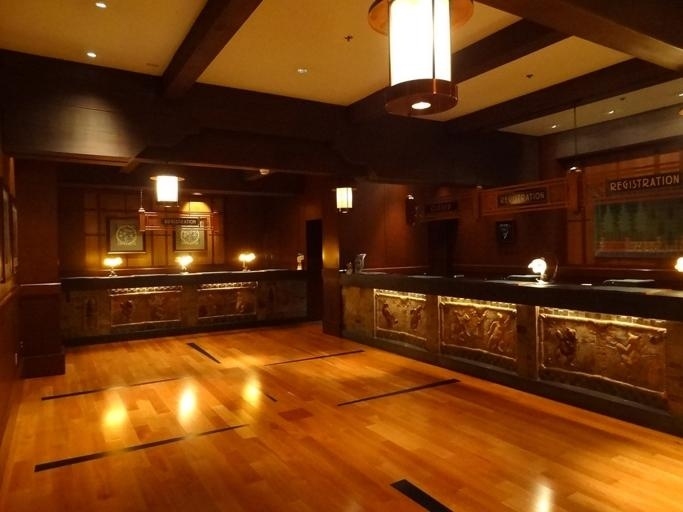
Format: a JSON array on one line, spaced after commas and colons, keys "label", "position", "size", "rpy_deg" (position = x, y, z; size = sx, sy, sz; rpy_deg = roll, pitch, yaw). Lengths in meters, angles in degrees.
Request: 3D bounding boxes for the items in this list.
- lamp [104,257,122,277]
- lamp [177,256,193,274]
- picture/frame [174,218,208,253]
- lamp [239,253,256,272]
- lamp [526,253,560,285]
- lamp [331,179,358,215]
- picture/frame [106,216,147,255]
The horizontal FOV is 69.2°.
[{"label": "lamp", "position": [-4.845, 0.202, 10.415], "size": [0.341, 0.400, 0.226], "rpy_deg": [2, -4, -15]}, {"label": "lamp", "position": [-3.496, 0.195, 10.995], "size": [0.374, 0.440, 1.242], "rpy_deg": [-3, 7, -17]}, {"label": "picture/frame", "position": [-3.550, -0.508, 11.489], "size": [0.752, 0.877, 0.112], "rpy_deg": [-2, 5, -37]}, {"label": "lamp", "position": [-2.290, 0.136, 12.031], "size": [0.406, 0.454, 0.407], "rpy_deg": [0, -3, -26]}, {"label": "lamp", "position": [2.527, 0.123, 6.260], "size": [0.261, 0.365, 0.787], "rpy_deg": [0, 7, 12]}, {"label": "lamp", "position": [0.077, -0.982, 7.895], "size": [0.412, 0.504, 0.427], "rpy_deg": [-1, 2, -16]}, {"label": "picture/frame", "position": [-4.727, -0.481, 10.754], "size": [0.778, 0.911, 0.070], "rpy_deg": [2, -6, -41]}]
